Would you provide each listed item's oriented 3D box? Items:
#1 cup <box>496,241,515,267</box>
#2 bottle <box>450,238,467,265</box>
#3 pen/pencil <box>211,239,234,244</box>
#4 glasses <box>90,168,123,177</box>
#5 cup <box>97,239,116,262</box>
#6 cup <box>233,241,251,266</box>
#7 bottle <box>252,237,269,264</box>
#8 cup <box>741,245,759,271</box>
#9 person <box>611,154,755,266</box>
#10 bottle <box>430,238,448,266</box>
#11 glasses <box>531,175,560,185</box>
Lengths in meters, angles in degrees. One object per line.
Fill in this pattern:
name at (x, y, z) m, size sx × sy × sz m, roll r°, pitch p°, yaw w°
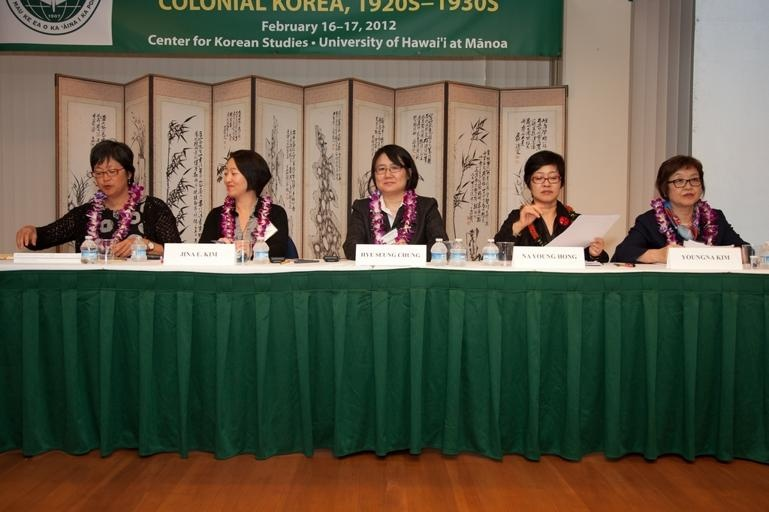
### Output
cup at (0.745, -0.002, 4.127) m, size 0.121 × 0.151 × 0.121 m, roll 1°, pitch 3°, yaw 0°
bottle at (0.457, -0.026, 4.197) m, size 0.125 × 0.220 × 0.136 m, roll 2°, pitch 0°, yaw 0°
pen/pencil at (-1.020, -0.091, 4.206) m, size 0.082 × 0.022 × 0.023 m, roll 1°, pitch 30°, yaw 24°
glasses at (-1.990, -0.597, 4.778) m, size 0.206 × 0.061 × 0.071 m, roll 0°, pitch 9°, yaw 10°
cup at (-1.774, -0.030, 4.253) m, size 0.120 × 0.159 × 0.129 m, roll -1°, pitch -4°, yaw 0°
cup at (-0.855, -0.025, 4.104) m, size 0.111 × 0.145 × 0.120 m, roll 0°, pitch 0°, yaw 0°
bottle at (-0.757, -0.023, 4.158) m, size 0.112 × 0.184 × 0.120 m, roll 1°, pitch -1°, yaw 0°
cup at (2.228, 0.011, 4.070) m, size 0.078 × 0.156 × 0.146 m, roll -1°, pitch 1°, yaw 0°
person at (1.974, -0.329, 4.526) m, size 0.874 × 0.689 × 0.409 m, roll -5°, pitch 9°, yaw -23°
bottle at (0.332, -0.016, 4.179) m, size 0.120 × 0.200 × 0.130 m, roll 1°, pitch 3°, yaw 0°
glasses at (1.128, -0.535, 4.644) m, size 0.195 × 0.058 × 0.067 m, roll 0°, pitch 9°, yaw 12°
